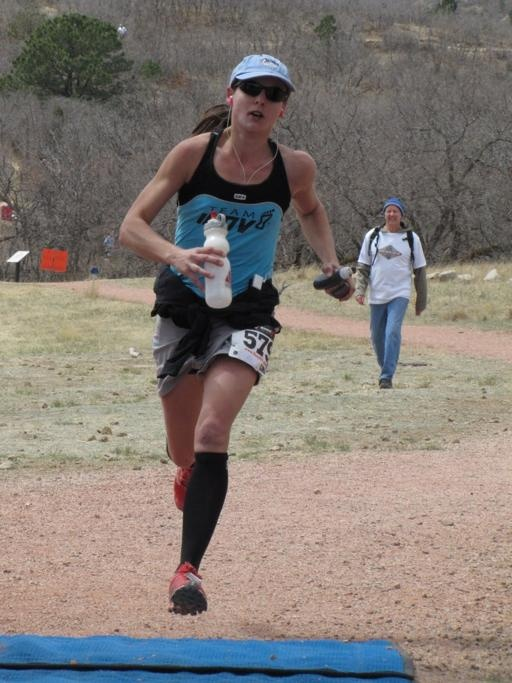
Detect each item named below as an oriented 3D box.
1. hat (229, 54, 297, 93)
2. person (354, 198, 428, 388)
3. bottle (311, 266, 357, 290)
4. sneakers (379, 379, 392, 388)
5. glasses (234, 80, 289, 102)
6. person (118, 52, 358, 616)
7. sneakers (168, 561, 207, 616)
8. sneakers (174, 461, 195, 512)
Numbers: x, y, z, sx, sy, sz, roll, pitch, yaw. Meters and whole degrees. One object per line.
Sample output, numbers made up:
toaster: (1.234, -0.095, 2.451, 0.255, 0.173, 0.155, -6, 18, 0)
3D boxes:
hat: (0.031, -1.193, 4.949, 0.199, 0.111, 0.242, 5, -6, -5)
person: (1.249, -0.431, 10.394, 0.633, 1.737, 0.875, 0, 9, 6)
bottle: (0.371, -0.291, 5.223, 0.179, 0.056, 0.097, -20, 4, 34)
sneakers: (1.190, 0.384, 10.294, 0.084, 0.074, 0.208, 0, -6, 7)
glasses: (0.030, -1.077, 4.880, 0.242, 0.096, 0.121, -1, 8, -2)
person: (-0.204, -0.180, 4.803, 0.680, 2.084, 1.066, 2, 9, 16)
sneakers: (-0.258, 0.985, 4.419, 0.140, 0.206, 0.134, -1, 9, -4)
sneakers: (-0.358, 0.722, 5.609, 0.123, 0.296, 0.142, -2, 7, -15)
